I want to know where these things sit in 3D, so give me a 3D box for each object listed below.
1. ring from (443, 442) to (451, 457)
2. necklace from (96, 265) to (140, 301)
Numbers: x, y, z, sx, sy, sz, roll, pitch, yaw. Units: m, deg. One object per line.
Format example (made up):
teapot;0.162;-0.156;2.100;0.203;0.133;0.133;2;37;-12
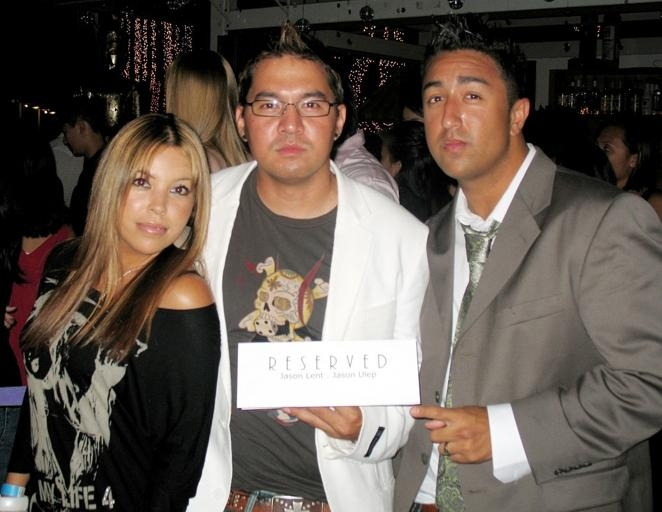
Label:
ring;0.435;0.725;2.210;0.020;0.054;0.045;0;3;-11
necklace;-0.875;0.109;2.437;0.112;0.169;0.045;3;-36;33
